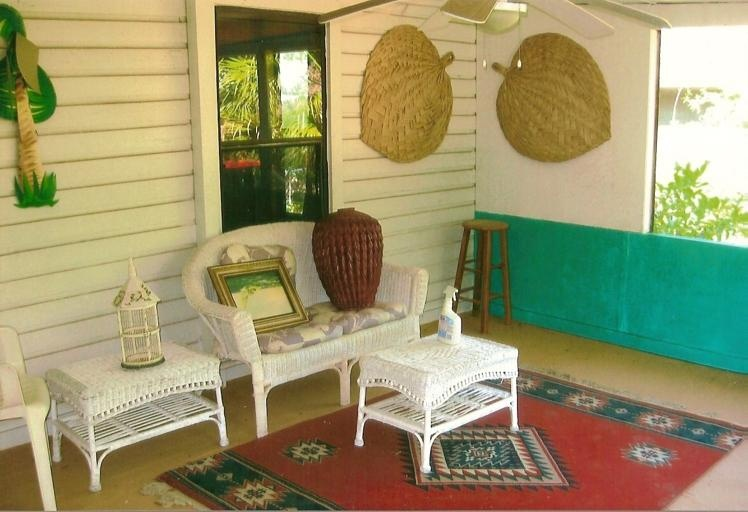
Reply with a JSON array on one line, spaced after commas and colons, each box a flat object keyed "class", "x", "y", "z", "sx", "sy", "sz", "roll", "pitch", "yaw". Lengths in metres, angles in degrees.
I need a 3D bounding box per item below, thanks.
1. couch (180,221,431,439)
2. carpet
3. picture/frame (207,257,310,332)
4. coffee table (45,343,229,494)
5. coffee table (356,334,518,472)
[{"class": "couch", "x": -0.568, "y": 0.445, "z": 4.415, "sx": 1.783, "sy": 1.185, "sz": 1.074, "roll": -10, "pitch": 14, "yaw": -41}, {"class": "carpet", "x": 0.589, "y": 1.277, "z": 3.523, "sx": 3.538, "sy": 0.102, "sz": 1.118, "roll": -3, "pitch": 17, "yaw": -5}, {"class": "picture/frame", "x": -0.844, "y": 0.276, "z": 4.073, "sx": 0.589, "sy": 0.416, "sz": 0.465, "roll": -11, "pitch": 19, "yaw": -27}, {"class": "coffee table", "x": -1.529, "y": 0.790, "z": 3.560, "sx": 1.101, "sy": 0.637, "sz": 0.789, "roll": -15, "pitch": 24, "yaw": -39}, {"class": "coffee table", "x": 0.388, "y": 0.696, "z": 3.670, "sx": 0.741, "sy": 0.642, "sz": 1.071, "roll": 9, "pitch": 15, "yaw": 42}]
